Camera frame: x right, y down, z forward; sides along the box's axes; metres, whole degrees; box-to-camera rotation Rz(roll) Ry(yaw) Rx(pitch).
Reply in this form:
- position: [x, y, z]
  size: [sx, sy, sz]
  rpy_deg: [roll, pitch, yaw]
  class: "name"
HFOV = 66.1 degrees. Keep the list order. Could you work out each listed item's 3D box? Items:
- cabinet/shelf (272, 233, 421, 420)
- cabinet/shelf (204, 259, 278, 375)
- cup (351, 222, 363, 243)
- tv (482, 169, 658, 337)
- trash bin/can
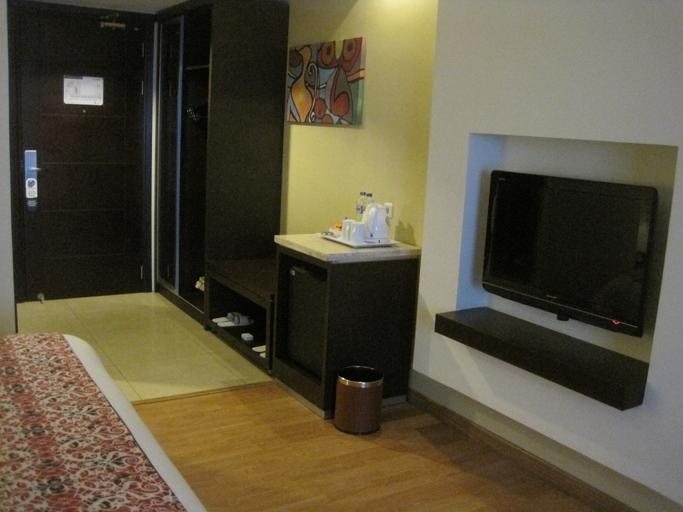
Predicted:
- position: [-0.004, 0.422, 3.639]
  size: [0.702, 1.047, 0.752]
  rpy_deg: [-2, 9, -33]
  class: "cabinet/shelf"
- position: [-0.917, 0.507, 4.612]
  size: [0.784, 0.492, 0.426]
  rpy_deg: [10, 10, -3]
  class: "cabinet/shelf"
- position: [0.099, -0.152, 3.383]
  size: [0.085, 0.130, 0.059]
  rpy_deg: [0, 12, -5]
  class: "cup"
- position: [1.171, -0.025, 2.642]
  size: [0.078, 0.599, 0.756]
  rpy_deg: [-8, 20, -32]
  class: "tv"
- position: [0.101, 0.865, 3.209]
  size: [0.291, 0.344, 0.221]
  rpy_deg: [1, 12, 0]
  class: "trash bin/can"
